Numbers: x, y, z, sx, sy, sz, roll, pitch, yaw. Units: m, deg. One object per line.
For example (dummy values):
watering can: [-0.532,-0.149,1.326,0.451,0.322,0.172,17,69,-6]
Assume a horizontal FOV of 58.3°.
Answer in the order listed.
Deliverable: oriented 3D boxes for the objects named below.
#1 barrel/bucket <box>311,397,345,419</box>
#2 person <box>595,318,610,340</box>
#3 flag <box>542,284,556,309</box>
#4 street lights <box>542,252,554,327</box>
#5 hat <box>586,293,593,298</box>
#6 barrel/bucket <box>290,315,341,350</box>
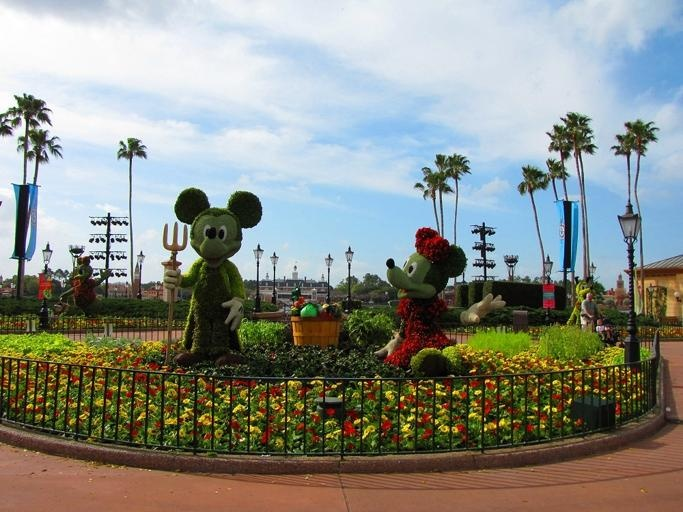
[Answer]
barrel/bucket: [-0.139,1.892,7.640,0.323,0.250,0.328,1,-13,0]
person: [7.142,2.023,16.604,0.415,0.619,1.240,-1,-5,23]
flag: [9.264,1.775,27.171,0.372,1.211,5.011,-1,-5,21]
street lights: [8.759,1.555,25.810,0.479,2.788,0.662,5,-7,-27]
hat: [7.222,1.169,17.812,0.103,0.144,0.142,5,25,4]
barrel/bucket: [-0.585,1.745,13.990,0.826,0.527,0.739,-1,-7,16]
